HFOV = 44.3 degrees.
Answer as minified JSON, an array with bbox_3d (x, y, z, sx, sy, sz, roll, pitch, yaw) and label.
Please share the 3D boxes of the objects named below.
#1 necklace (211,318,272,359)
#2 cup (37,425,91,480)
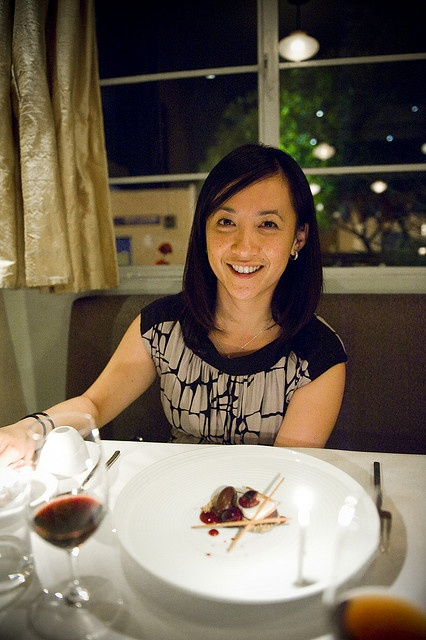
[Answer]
[{"bbox_3d":[0.077,0.051,1.345,0.168,0.029,0.022,-27,-16,-22],"label":"necklace"},{"bbox_3d":[-0.205,0.186,0.724,0.057,0.055,0.058,0,-10,0],"label":"cup"}]
